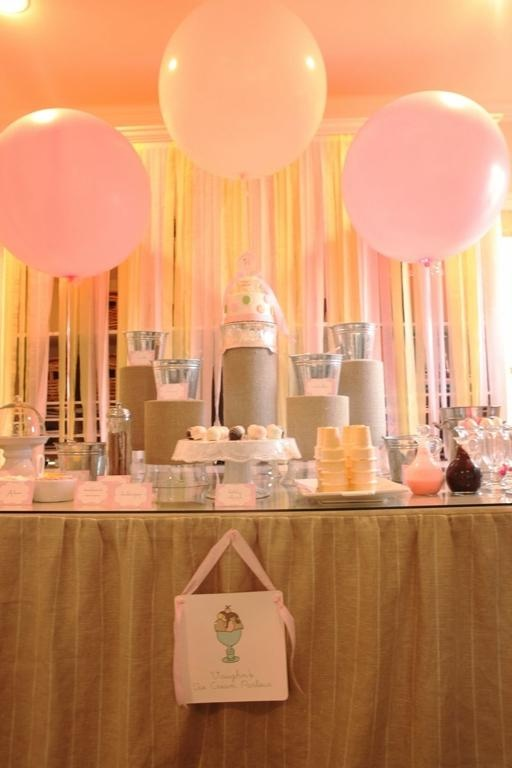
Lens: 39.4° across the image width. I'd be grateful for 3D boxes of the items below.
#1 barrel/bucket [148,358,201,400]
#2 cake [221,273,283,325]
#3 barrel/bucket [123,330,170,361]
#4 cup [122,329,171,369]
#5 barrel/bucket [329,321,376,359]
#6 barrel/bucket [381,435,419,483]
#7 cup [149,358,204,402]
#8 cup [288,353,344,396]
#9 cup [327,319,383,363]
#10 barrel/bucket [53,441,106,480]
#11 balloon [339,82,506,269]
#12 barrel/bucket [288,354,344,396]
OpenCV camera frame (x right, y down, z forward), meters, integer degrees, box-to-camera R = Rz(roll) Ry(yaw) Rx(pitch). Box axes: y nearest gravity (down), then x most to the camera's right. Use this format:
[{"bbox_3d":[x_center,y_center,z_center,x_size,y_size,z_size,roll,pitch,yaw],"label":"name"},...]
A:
[{"bbox_3d":[-0.218,-0.013,1.952,0.122,0.117,0.137,0,-3,-11],"label":"barrel/bucket"},{"bbox_3d":[-0.011,-0.250,2.246,0.147,0.144,0.158,0,-3,-1],"label":"cake"},{"bbox_3d":[-0.341,-0.104,2.259,0.105,0.089,0.110,-1,-5,0],"label":"barrel/bucket"},{"bbox_3d":[-0.347,-0.114,2.236,0.127,0.121,0.212,0,-3,-8],"label":"cup"},{"bbox_3d":[0.294,-0.134,2.266,0.153,0.119,0.142,0,-3,0],"label":"barrel/bucket"},{"bbox_3d":[0.322,0.169,1.620,0.084,0.113,0.088,-2,-2,0],"label":"barrel/bucket"},{"bbox_3d":[-0.215,-0.012,1.971,0.115,0.096,0.104,2,-2,-44],"label":"cup"},{"bbox_3d":[0.157,-0.026,1.981,0.114,0.096,0.110,0,-7,0],"label":"cup"},{"bbox_3d":[0.317,-0.137,2.325,0.169,0.149,0.205,1,-8,-6],"label":"cup"},{"bbox_3d":[-0.398,0.186,1.615,0.095,0.081,0.094,0,-8,0],"label":"barrel/bucket"},{"bbox_3d":[0.439,-0.628,2.175,0.404,0.553,0.465,-9,31,-1],"label":"balloon"},{"bbox_3d":[0.155,-0.029,1.974,0.113,0.095,0.111,0,-7,0],"label":"barrel/bucket"}]
